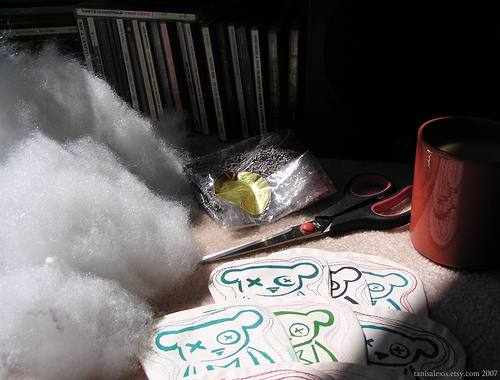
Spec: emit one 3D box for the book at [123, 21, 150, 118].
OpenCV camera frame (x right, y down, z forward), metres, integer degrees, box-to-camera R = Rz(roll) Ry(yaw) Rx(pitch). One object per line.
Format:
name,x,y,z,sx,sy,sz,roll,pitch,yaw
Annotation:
book,-0.181,-0.197,0.647,0.015,0.162,0.082,-16,36,-8

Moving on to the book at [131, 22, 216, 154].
book,-0.105,-0.219,0.784,0.154,0.247,0.183,-10,28,-1

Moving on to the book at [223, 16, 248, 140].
book,-0.029,-0.182,0.694,0.016,0.178,0.125,-10,5,-13

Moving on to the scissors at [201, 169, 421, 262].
scissors,0.084,0.048,0.544,0.289,0.025,0.124,-15,43,-13
